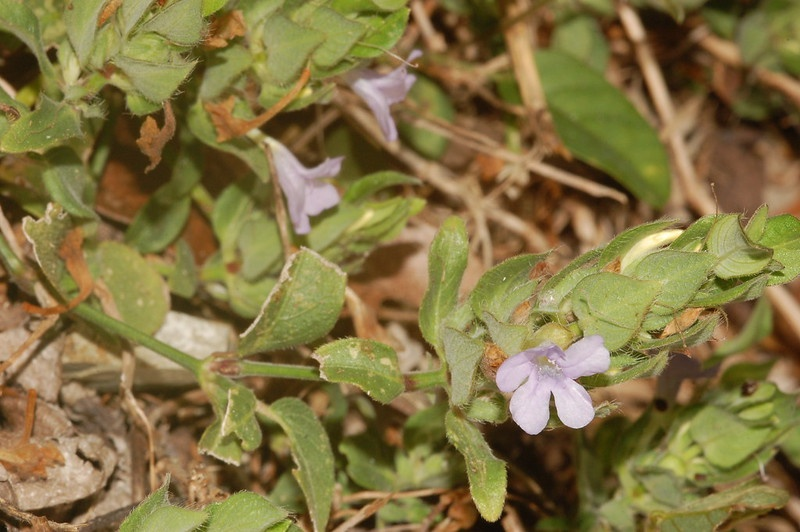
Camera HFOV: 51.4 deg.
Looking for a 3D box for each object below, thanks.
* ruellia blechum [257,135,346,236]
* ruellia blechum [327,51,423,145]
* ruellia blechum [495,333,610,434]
[{"bbox_3d":[-0.186,-0.156,1.623,0.142,0.134,0.193,-40,81,-12],"label":"ruellia blechum"},{"bbox_3d":[-0.047,-0.327,1.590,0.121,0.120,0.114,5,52,-8],"label":"ruellia blechum"},{"bbox_3d":[0.244,0.180,1.338,0.192,0.090,0.188,-9,23,34],"label":"ruellia blechum"}]
